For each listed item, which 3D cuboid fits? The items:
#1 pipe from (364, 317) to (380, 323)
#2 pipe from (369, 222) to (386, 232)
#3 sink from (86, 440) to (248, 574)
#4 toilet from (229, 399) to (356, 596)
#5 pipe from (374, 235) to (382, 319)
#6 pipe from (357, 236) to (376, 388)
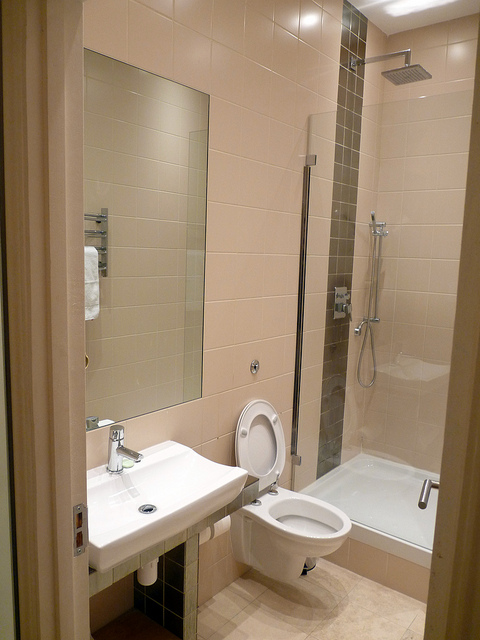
[{"bbox_3d":[0.650,-0.001,2.443,0.008,0.024,0.083,-3,8,-42],"label":"pipe"},{"bbox_3d":[0.649,-0.442,2.339,0.081,0.045,0.015,8,8,44],"label":"pipe"},{"bbox_3d":[-0.274,0.542,1.502,0.374,0.136,0.596,8,7,39],"label":"sink"},{"bbox_3d":[0.208,0.791,2.154,0.401,0.825,0.325,9,12,33],"label":"toilet"},{"bbox_3d":[0.663,-0.207,2.376,0.015,0.399,0.073,2,5,10],"label":"pipe"},{"bbox_3d":[0.628,-0.028,2.441,0.099,0.761,0.104,4,5,31],"label":"pipe"}]
